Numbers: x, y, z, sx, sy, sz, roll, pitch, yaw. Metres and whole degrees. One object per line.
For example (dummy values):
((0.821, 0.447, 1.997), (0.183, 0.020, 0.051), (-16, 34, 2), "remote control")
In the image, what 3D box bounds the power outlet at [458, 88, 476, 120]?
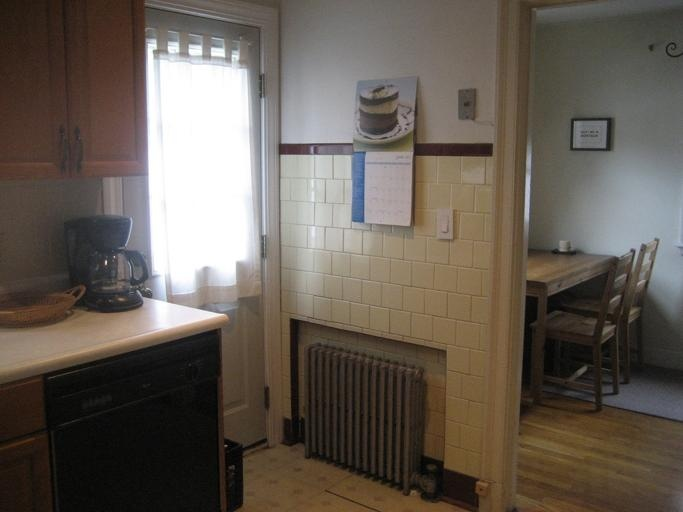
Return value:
((0.639, -0.768, 2.901), (0.093, 0.159, 0.037), (3, 13, 12), "power outlet")

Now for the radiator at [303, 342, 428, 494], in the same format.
((0.161, 0.948, 3.298), (0.697, 0.705, 0.161), (9, 13, 31), "radiator")

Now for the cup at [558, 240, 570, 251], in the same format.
((1.979, -0.086, 5.086), (0.085, 0.095, 0.087), (0, 4, 0), "cup")

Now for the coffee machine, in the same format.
((-1.116, 0.005, 2.763), (0.456, 0.543, 0.342), (-1, 15, -8), "coffee machine")

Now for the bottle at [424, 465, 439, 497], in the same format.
((0.505, 1.254, 3.164), (0.072, 0.148, 0.131), (2, 13, 9), "bottle")
